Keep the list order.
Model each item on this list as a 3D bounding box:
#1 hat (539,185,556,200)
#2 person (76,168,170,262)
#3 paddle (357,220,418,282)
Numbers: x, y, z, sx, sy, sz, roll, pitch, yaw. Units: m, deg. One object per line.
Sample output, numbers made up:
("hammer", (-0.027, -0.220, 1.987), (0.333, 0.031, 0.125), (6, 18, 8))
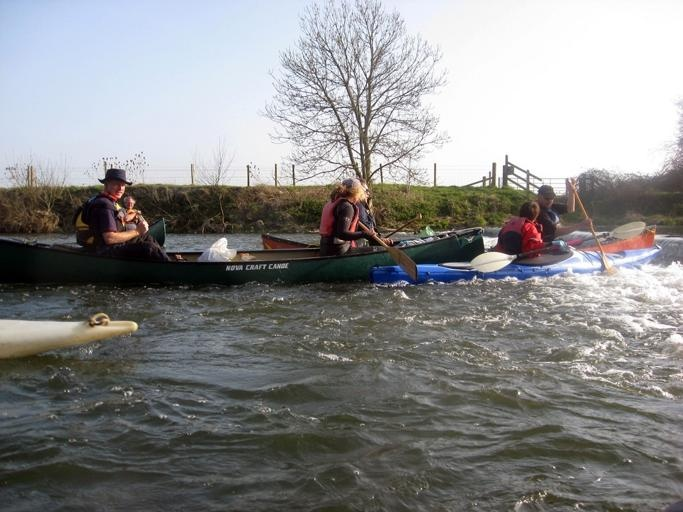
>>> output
("hat", (3.146, -0.986, 10.307), (0.241, 0.218, 0.352), (3, 12, 14))
("person", (-2.987, -0.557, 8.979), (1.192, 1.229, 0.588), (-2, 13, -10))
("paddle", (0.596, -0.244, 9.743), (0.244, 0.093, 2.220), (-24, 32, -8))
